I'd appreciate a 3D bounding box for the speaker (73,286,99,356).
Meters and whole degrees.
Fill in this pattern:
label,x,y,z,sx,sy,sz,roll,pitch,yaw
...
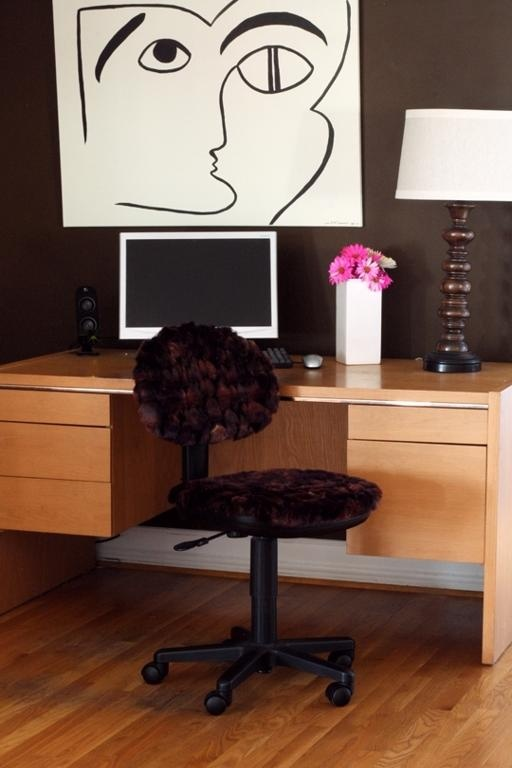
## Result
label,x,y,z,sx,sy,sz,roll,pitch,yaw
speaker,-0.564,-0.219,2.449,0.069,0.231,0.093,-1,1,-13

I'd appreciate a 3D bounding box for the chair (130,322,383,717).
label,x,y,z,sx,sy,sz,roll,pitch,yaw
chair,0.011,0.264,1.654,0.549,0.785,0.509,4,4,42

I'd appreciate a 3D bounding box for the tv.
label,x,y,z,sx,sy,sz,roll,pitch,yaw
tv,-0.160,-0.300,2.214,0.423,0.271,0.033,0,2,6

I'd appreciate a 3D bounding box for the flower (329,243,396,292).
label,x,y,z,sx,sy,sz,roll,pitch,yaw
flower,0.299,-0.338,2.134,0.165,0.139,0.089,-1,1,8
